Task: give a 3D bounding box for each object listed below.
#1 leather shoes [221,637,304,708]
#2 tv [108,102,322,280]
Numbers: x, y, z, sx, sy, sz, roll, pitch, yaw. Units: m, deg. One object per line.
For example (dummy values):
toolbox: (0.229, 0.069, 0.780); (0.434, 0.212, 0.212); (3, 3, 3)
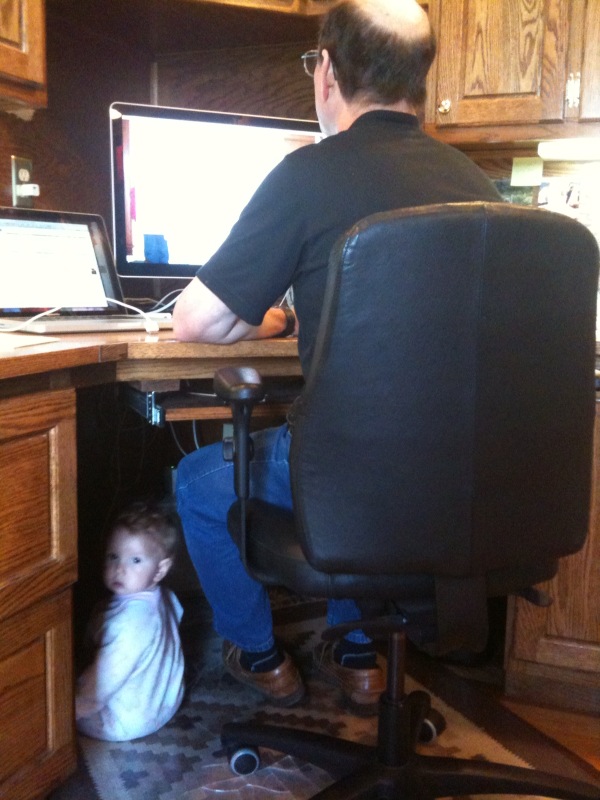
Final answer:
leather shoes: (-0.078, 0.552, 1.538); (0.104, 0.068, 0.179); (-16, 30, -34)
tv: (-0.202, -0.426, 1.518); (0.595, 0.397, 0.046); (-2, 13, -25)
